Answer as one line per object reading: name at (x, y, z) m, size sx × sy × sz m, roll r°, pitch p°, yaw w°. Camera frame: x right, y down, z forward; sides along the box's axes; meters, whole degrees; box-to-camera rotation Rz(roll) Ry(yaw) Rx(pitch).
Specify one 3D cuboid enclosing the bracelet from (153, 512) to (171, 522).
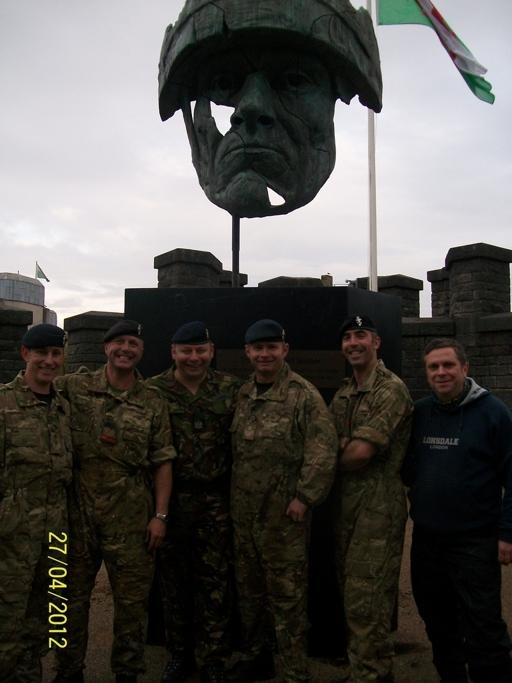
bracelet at (-0.427, 0.801, 3.119) m, size 0.052 × 0.037 × 0.058 m, roll 14°, pitch -9°, yaw -40°

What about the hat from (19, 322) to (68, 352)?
hat at (-0.940, -0.015, 3.031) m, size 0.244 × 0.099 × 0.304 m, roll 1°, pitch 3°, yaw -10°
